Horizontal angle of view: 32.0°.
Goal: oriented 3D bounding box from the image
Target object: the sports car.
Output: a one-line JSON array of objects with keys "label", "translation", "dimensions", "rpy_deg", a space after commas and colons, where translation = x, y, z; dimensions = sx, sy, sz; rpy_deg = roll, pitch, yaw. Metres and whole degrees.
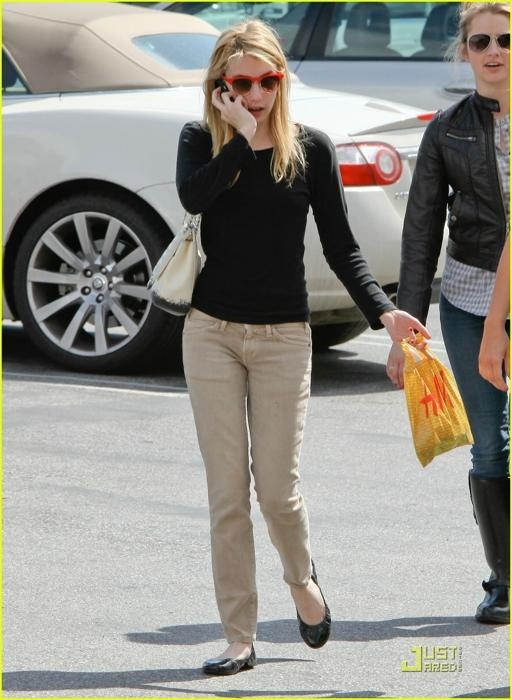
[{"label": "sports car", "translation": [-0.676, -1.109, 6.185], "dimensions": [4.162, 1.407, 1.643], "rpy_deg": [10, 2, 19]}]

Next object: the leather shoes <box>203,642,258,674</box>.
[{"label": "leather shoes", "translation": [-0.065, 0.793, 2.300], "dimensions": [0.144, 0.052, 0.052], "rpy_deg": [4, -7, -44]}]

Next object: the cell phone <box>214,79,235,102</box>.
[{"label": "cell phone", "translation": [-0.088, -0.657, 2.264], "dimensions": [0.021, 0.043, 0.074], "rpy_deg": [-33, 39, 4]}]

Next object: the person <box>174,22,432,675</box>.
[{"label": "person", "translation": [0.042, -0.008, 2.368], "dimensions": [0.544, 1.651, 0.413], "rpy_deg": [-3, 11, -30]}]

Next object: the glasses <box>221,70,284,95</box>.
[{"label": "glasses", "translation": [-0.002, -0.674, 2.250], "dimensions": [0.153, 0.070, 0.066], "rpy_deg": [1, 9, -6]}]

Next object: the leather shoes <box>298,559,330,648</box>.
[{"label": "leather shoes", "translation": [0.152, 0.687, 2.405], "dimensions": [0.084, 0.236, 0.039], "rpy_deg": [-13, 9, 26]}]
